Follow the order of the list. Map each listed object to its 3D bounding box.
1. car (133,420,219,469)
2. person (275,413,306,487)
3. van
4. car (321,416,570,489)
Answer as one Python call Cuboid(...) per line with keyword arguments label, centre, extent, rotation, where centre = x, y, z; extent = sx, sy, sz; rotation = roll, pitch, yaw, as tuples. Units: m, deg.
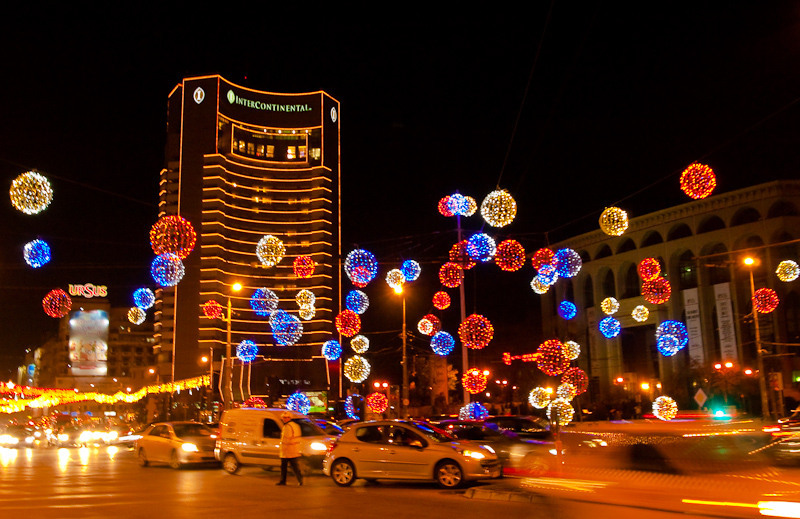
Cuboid(label="car", centre=(-9.571, 8.011, 30.935), extent=(3.712, 2.047, 1.373), rotation=(-11, -21, 27))
Cuboid(label="person", centre=(-3.847, 6.650, 24.987), extent=(0.840, 2.478, 0.976), rotation=(1, -19, -8))
Cuboid(label="van", centre=(-4.983, 7.322, 28.775), extent=(4.644, 2.098, 2.637), rotation=(-7, -12, 21))
Cuboid(label="car", centre=(1.219, 6.857, 25.232), extent=(7.677, 2.355, 2.802), rotation=(1, -19, -8))
